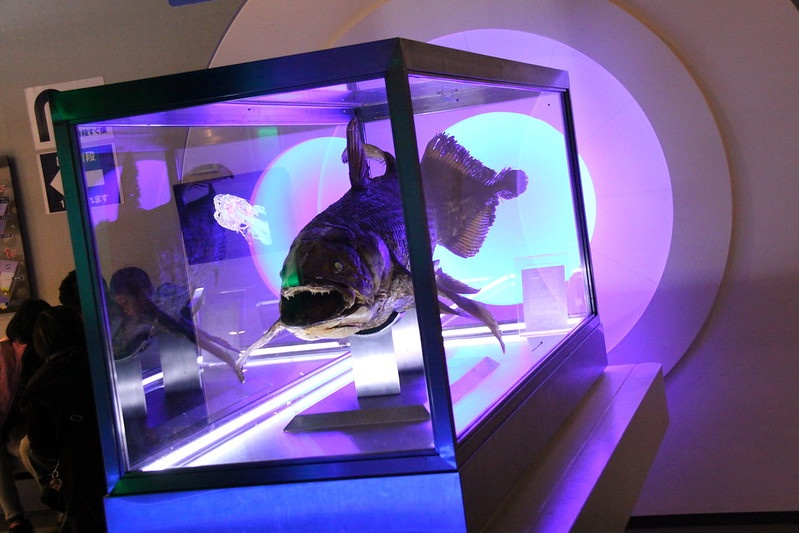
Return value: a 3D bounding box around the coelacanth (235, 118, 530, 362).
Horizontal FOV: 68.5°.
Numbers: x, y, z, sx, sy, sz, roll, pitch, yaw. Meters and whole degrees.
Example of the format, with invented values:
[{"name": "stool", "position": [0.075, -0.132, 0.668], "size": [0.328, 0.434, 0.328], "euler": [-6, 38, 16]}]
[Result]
[{"name": "coelacanth", "position": [0.024, -0.057, 1.360], "size": [0.446, 0.364, 0.647], "euler": [-2, 37, 25]}]
